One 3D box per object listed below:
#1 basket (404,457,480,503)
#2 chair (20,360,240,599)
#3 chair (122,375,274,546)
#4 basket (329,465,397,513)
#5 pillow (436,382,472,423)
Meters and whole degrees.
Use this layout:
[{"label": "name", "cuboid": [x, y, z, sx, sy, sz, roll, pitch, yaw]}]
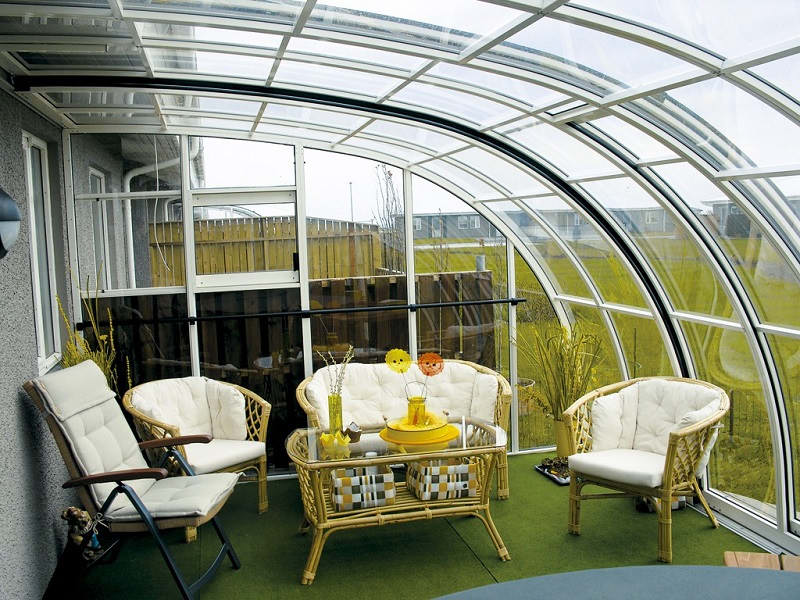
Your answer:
[{"label": "basket", "cuboid": [0.363, 1.448, 5.481, 0.420, 0.230, 0.398, -1, 0, -8]}, {"label": "chair", "cuboid": [-2.333, 1.194, 5.724, 2.000, 2.035, 1.377, -4, 3, 5]}, {"label": "chair", "cuboid": [-1.972, 1.477, 6.499, 1.423, 1.195, 1.399, 9, 9, 44]}, {"label": "basket", "cuboid": [-0.305, 1.502, 5.277, 0.517, 0.244, 0.362, -1, -6, -14]}, {"label": "pillow", "cuboid": [0.522, 1.041, 6.869, 0.350, 0.302, 0.128, -6, -6, 18]}]
